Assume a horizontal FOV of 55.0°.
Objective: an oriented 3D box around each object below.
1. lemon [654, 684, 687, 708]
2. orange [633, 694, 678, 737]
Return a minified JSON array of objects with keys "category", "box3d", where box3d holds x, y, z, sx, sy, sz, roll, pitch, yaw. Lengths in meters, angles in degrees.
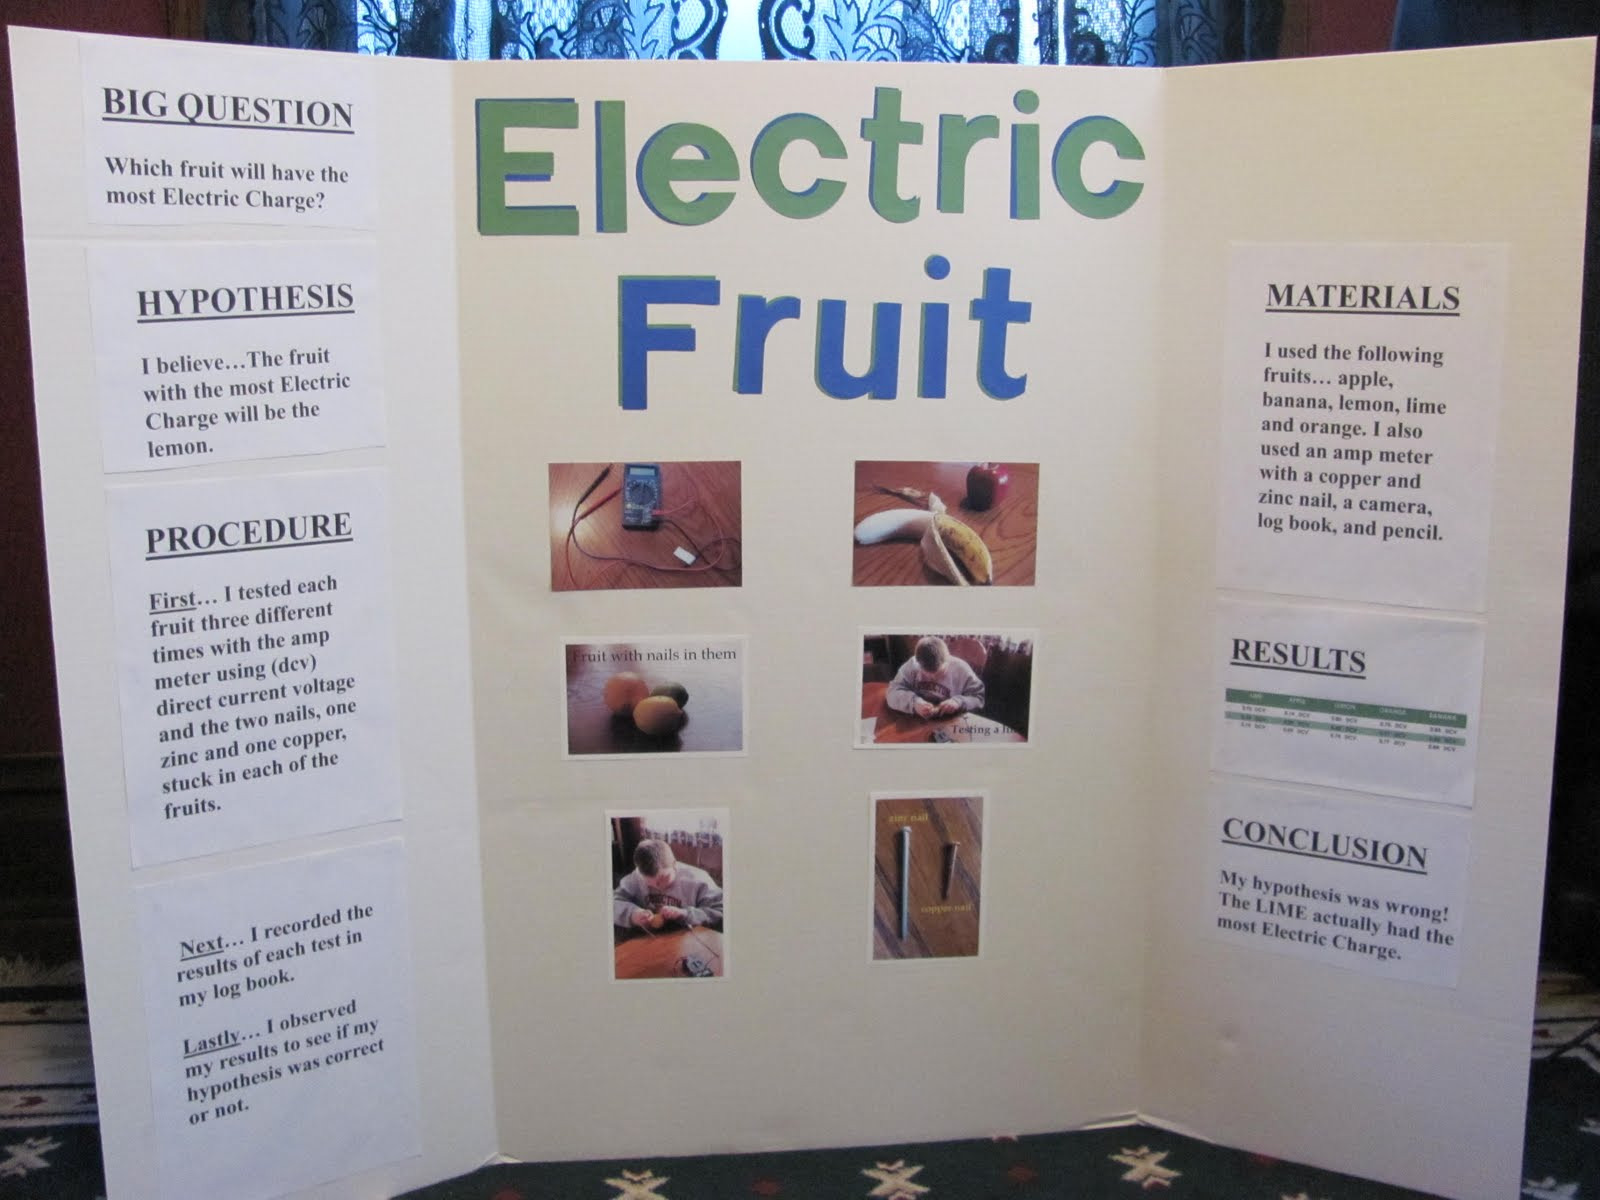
[{"category":"lemon","box3d":[-0.202,0.145,2.406,0.037,0.032,0.031,16,46,7]},{"category":"orange","box3d":[-0.226,0.183,2.411,0.071,0.066,0.065,-6,49,-12]}]
